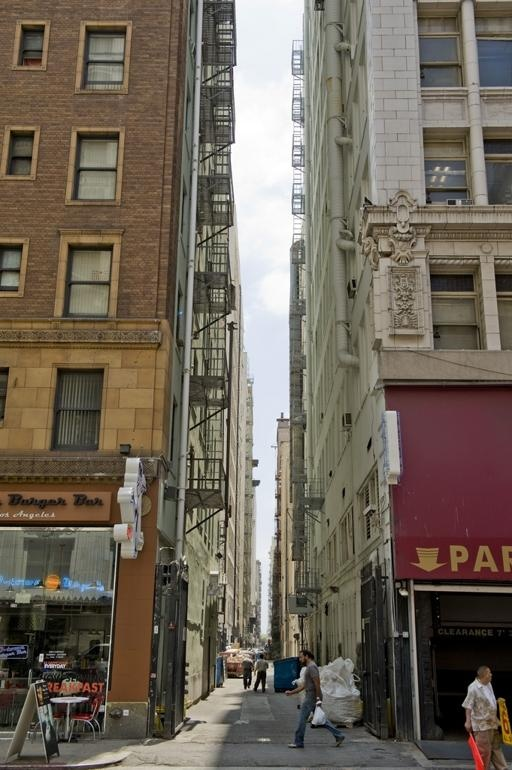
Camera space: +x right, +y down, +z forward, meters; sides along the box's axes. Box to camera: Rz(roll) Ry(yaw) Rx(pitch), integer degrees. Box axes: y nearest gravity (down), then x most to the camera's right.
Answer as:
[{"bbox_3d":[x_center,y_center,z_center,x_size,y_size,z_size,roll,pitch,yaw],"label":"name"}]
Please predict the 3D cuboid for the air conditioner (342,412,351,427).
[{"bbox_3d":[3.046,1.309,20.819,0.312,0.648,0.695,0,-12,3],"label":"air conditioner"}]

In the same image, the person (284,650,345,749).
[{"bbox_3d":[0.933,5.160,10.029,0.768,1.567,2.123,-2,-17,3],"label":"person"}]

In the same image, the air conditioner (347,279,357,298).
[{"bbox_3d":[3.302,-3.271,21.101,0.285,0.689,0.700,1,-35,0],"label":"air conditioner"}]
